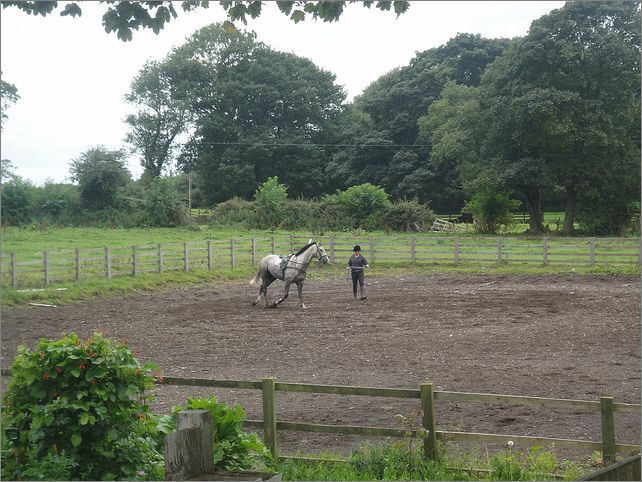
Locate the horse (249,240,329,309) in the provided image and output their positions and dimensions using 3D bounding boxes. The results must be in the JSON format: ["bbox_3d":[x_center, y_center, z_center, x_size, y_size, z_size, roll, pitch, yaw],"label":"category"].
[{"bbox_3d":[-1.593,1.619,45.564,4.554,3.176,1.146,-3,-10,39],"label":"horse"}]

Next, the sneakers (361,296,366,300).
[{"bbox_3d":[2.020,2.695,46.061,0.196,0.196,0.105,24,4,-34],"label":"sneakers"}]
